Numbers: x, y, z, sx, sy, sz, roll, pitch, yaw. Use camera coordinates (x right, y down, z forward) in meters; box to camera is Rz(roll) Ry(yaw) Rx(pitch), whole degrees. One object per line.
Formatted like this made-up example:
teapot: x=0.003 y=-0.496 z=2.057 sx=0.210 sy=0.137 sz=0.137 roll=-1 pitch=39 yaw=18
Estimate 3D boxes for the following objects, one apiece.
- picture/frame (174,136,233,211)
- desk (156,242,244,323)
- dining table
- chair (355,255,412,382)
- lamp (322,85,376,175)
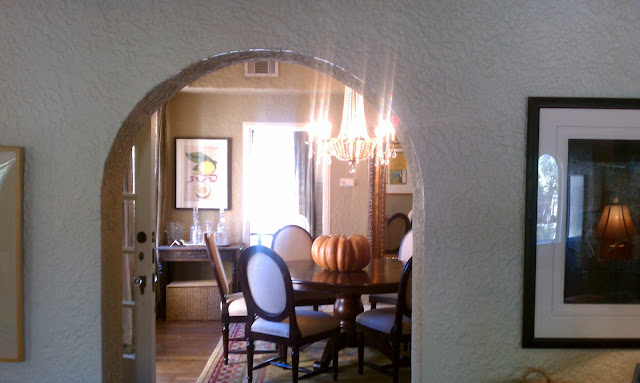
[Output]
picture/frame: x=-1.358 y=-0.218 z=6.258 sx=0.868 sy=1.103 sz=0.046 roll=1 pitch=0 yaw=-2
desk: x=-1.374 y=1.000 z=6.098 sx=0.911 sy=0.749 sz=0.558 roll=-1 pitch=-3 yaw=-9
dining table: x=0.201 y=0.937 z=4.667 sx=0.926 sy=0.594 sz=0.938 roll=1 pitch=1 yaw=38
chair: x=0.511 y=1.033 z=4.431 sx=0.454 sy=1.074 sz=0.786 roll=0 pitch=0 yaw=7
lamp: x=0.266 y=-0.654 z=5.291 sx=0.544 sy=0.731 sz=0.328 roll=0 pitch=0 yaw=7
